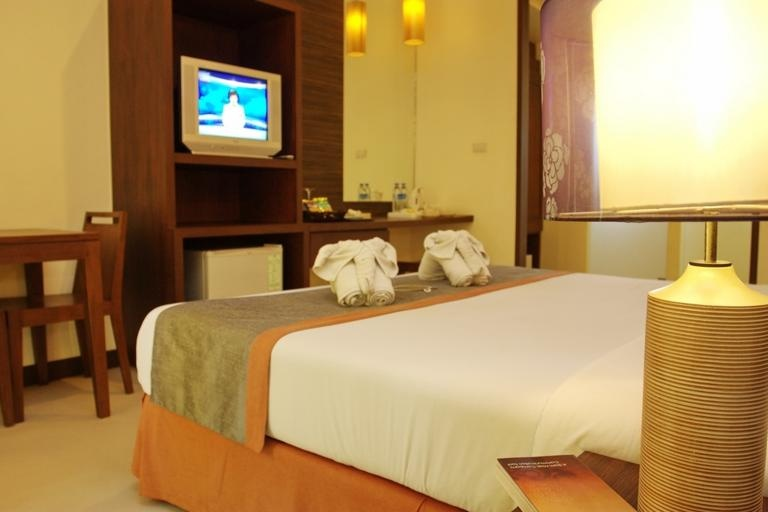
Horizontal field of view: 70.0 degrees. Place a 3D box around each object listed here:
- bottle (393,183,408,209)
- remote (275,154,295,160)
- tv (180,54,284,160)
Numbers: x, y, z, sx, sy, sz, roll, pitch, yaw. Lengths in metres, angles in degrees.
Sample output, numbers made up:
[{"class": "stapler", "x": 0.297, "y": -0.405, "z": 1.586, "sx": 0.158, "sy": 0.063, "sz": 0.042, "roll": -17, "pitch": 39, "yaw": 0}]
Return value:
[{"class": "bottle", "x": 0.155, "y": -0.595, "z": 5.443, "sx": 0.141, "sy": 0.265, "sz": 0.369, "roll": 2, "pitch": 10, "yaw": 2}, {"class": "remote", "x": -0.683, "y": -0.691, "z": 3.831, "sx": 0.094, "sy": 0.029, "sz": 0.093, "roll": -1, "pitch": 2, "yaw": -15}, {"class": "tv", "x": -0.986, "y": -0.931, "z": 3.519, "sx": 0.785, "sy": 0.668, "sz": 0.402, "roll": -3, "pitch": 5, "yaw": -43}]
